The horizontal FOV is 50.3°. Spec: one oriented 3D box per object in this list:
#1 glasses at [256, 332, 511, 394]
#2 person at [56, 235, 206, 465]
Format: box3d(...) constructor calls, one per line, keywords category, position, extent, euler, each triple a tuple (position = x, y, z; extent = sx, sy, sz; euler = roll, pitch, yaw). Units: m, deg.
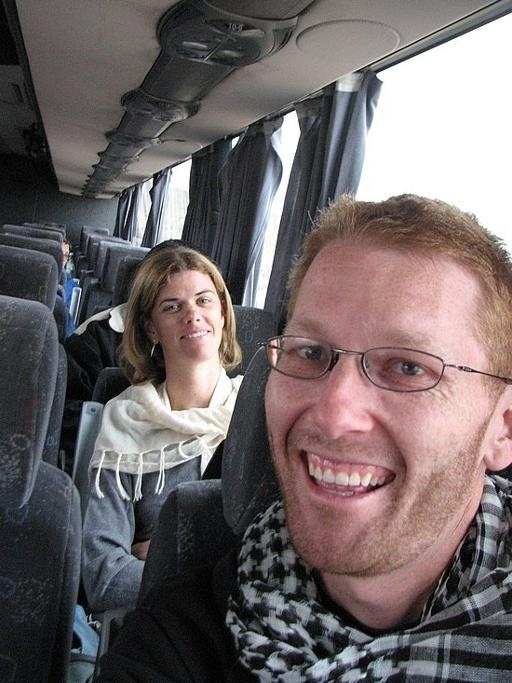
box3d(category="glasses", position=(0.144, 0.031, 0.721), extent=(0.326, 0.060, 0.127), euler=(14, 6, 34))
box3d(category="person", position=(-0.721, 0.031, 3.221), extent=(0.888, 0.935, 0.732), euler=(25, 5, 16))
